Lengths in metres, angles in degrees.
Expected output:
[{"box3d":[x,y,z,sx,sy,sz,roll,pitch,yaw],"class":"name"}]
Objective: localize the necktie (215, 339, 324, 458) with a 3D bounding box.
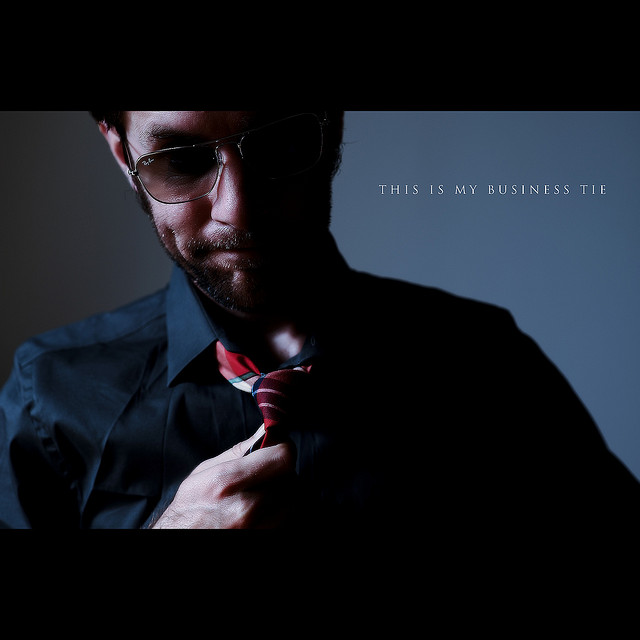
[{"box3d":[-0.135,0.229,2.385,0.262,0.312,0.116,-10,34,-13],"class":"necktie"}]
